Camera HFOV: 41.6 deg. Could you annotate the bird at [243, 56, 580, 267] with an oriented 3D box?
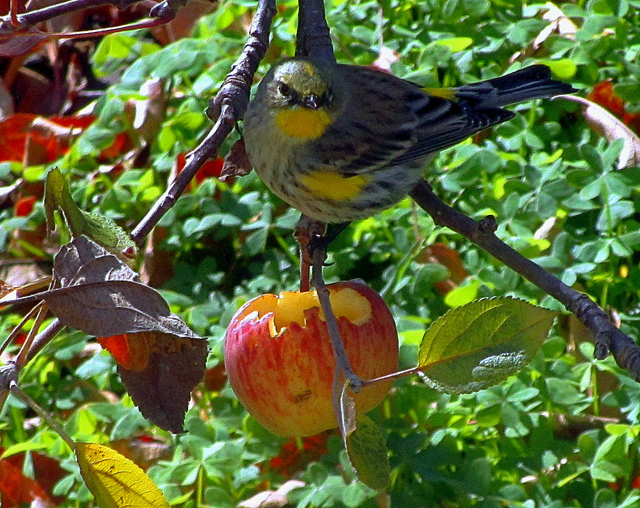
[{"bbox_3d":[0.265,-0.428,3.083,1.093,0.602,0.287,-5,-16,-15],"label":"bird"}]
